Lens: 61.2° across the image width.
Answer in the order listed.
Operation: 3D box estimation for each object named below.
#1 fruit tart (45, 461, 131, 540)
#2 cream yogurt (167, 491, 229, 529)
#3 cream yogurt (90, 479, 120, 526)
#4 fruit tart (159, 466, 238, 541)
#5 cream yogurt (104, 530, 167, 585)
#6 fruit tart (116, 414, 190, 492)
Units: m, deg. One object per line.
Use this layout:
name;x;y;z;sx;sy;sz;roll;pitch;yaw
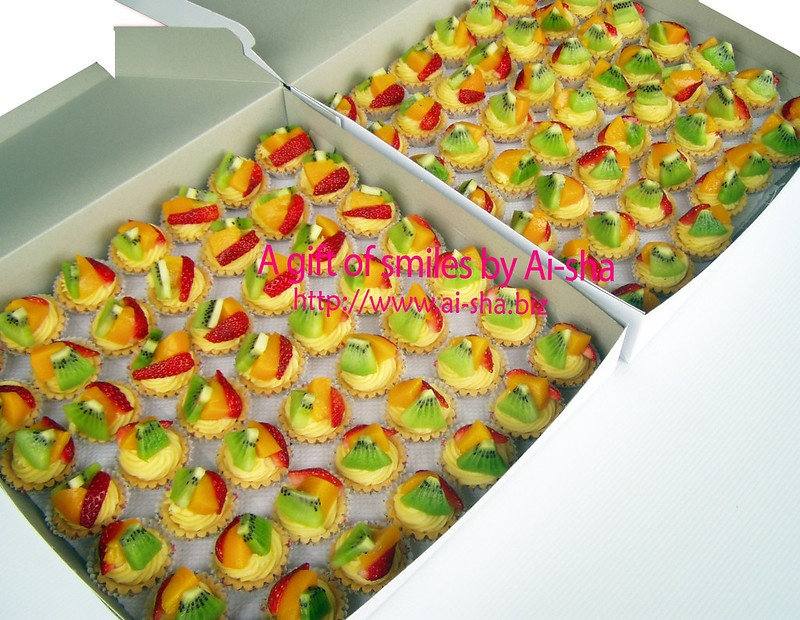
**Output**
fruit tart;-1.430;0.869;3.103;0.293;0.317;0.123;12;-12;11
cream yogurt;-0.949;0.951;3.136;0.278;0.087;0.291;-9;19;-11
cream yogurt;-1.350;0.901;3.128;0.048;0.149;0.144;4;-5;5
fruit tart;-0.937;0.890;3.236;0.325;0.320;0.233;-37;4;-8
cream yogurt;-1.165;1.092;2.915;0.227;0.240;0.096;-1;2;-4
fruit tart;-1.232;0.735;3.270;0.342;0.348;0.251;-126;54;-78
